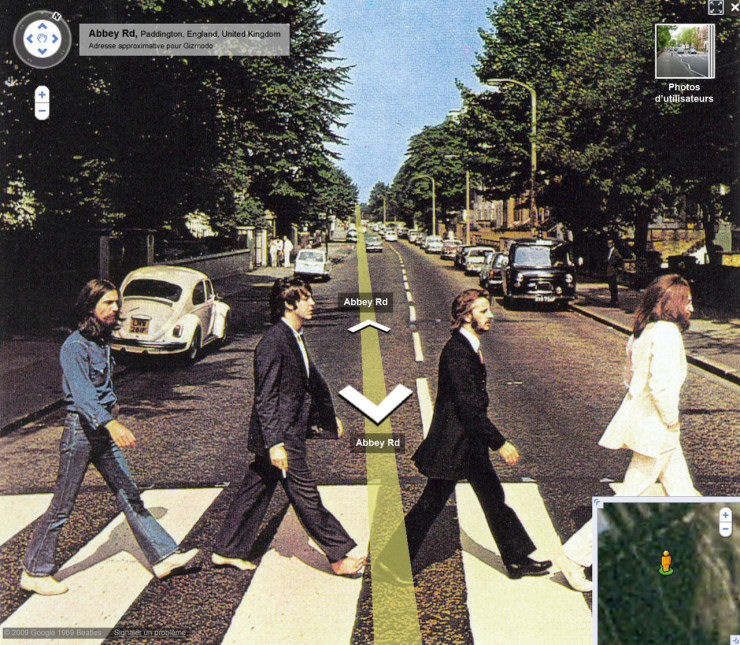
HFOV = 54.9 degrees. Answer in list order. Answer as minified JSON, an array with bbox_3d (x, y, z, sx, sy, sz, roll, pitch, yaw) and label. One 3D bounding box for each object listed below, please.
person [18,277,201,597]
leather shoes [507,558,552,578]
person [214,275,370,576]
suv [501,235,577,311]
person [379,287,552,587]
[{"bbox_3d":[-1.803,0.724,4.742,0.972,1.985,0.473,-1,8,-5],"label":"person"},{"bbox_3d":[1.053,1.630,4.752,0.220,0.115,0.150,-4,9,5],"label":"leather shoes"},{"bbox_3d":[-0.582,0.708,4.895,1.009,2.025,0.594,-2,8,-8],"label":"person"},{"bbox_3d":[5.346,-1.541,22.115,1.312,1.651,2.578,0,1,1],"label":"suv"},{"bbox_3d":[0.627,0.776,4.819,1.156,2.000,0.710,-1,7,9],"label":"person"}]
